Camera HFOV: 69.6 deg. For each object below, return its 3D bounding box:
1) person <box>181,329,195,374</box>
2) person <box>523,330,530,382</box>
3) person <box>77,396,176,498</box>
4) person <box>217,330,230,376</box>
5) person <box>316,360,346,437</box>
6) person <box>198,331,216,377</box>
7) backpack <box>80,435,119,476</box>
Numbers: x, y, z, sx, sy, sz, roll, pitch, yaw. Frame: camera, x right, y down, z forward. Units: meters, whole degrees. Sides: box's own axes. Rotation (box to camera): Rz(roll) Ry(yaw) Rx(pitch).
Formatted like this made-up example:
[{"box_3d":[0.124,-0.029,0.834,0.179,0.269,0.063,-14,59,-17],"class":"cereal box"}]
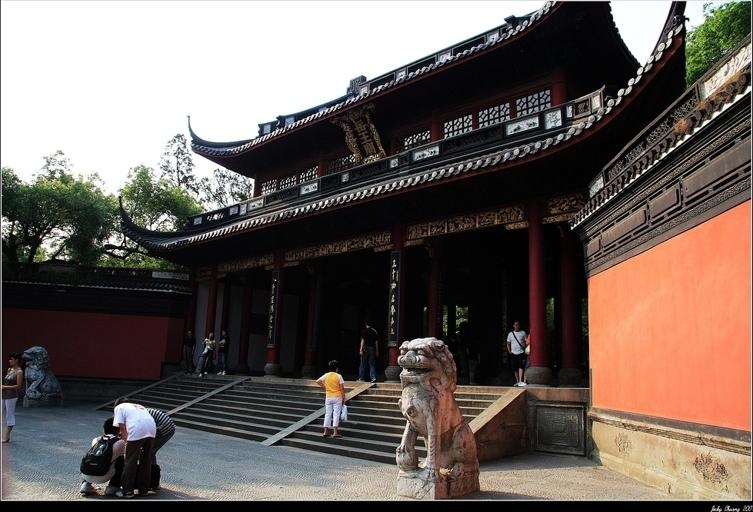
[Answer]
[{"box_3d":[-5.793,2.937,16.633,0.350,1.285,0.998,6,-14,-19],"class":"person"},{"box_3d":[3.068,2.079,10.971,0.160,0.955,0.647,-2,-14,16],"class":"person"},{"box_3d":[-3.256,2.620,7.456,1.242,1.454,1.127,-12,-24,25],"class":"person"},{"box_3d":[-4.557,2.824,16.028,0.269,1.306,0.923,6,-14,-17],"class":"person"},{"box_3d":[-0.895,2.765,10.586,0.521,1.426,0.831,3,-14,-5],"class":"person"},{"box_3d":[-5.104,2.917,16.243,0.372,1.350,1.511,6,-14,-15],"class":"person"},{"box_3d":[-3.544,2.537,6.912,0.346,0.471,0.283,-1,-20,14],"class":"backpack"}]
